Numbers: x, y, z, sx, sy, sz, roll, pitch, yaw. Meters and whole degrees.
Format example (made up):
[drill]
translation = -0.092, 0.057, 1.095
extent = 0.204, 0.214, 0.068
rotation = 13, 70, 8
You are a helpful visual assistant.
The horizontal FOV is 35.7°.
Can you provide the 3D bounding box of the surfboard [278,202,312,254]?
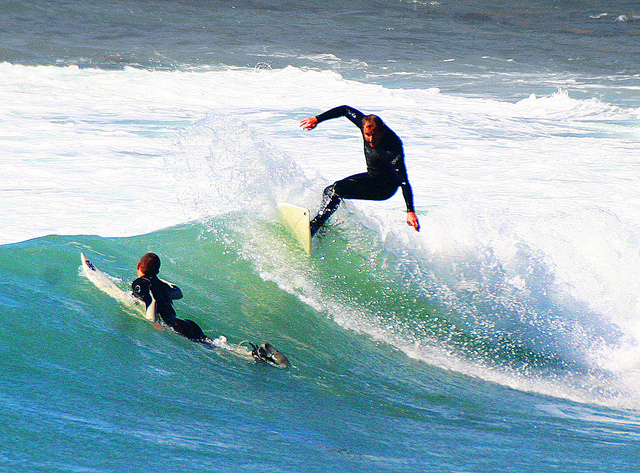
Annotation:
[surfboard]
translation = -0.416, -0.168, 19.595
extent = 0.286, 0.856, 0.737
rotation = -13, 23, -42
